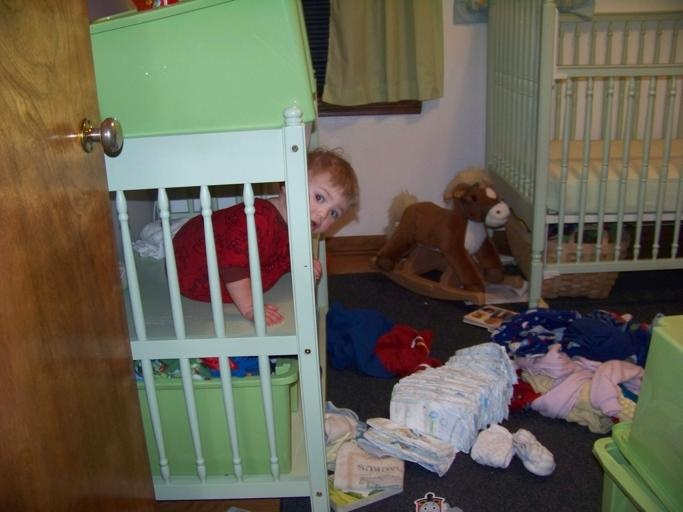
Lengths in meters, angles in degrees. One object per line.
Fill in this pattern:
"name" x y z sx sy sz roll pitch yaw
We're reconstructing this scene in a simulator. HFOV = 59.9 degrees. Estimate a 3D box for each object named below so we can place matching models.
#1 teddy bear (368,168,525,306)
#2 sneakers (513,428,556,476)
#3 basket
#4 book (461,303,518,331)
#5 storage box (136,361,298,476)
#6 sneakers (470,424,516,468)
"teddy bear" 0.564 -0.167 3.299 0.949 0.717 0.468 13 23 39
"sneakers" 0.602 0.615 1.867 0.091 0.051 0.134 -20 37 -21
"basket" 1.101 0.015 2.899 0.358 0.332 0.551 -2 13 0
"book" 0.700 0.273 2.764 0.231 0.062 0.306 8 18 35
"storage box" -0.326 0.432 1.647 0.390 0.260 0.267 0 9 -2
"sneakers" 0.495 0.617 1.913 0.117 0.075 0.145 7 17 32
